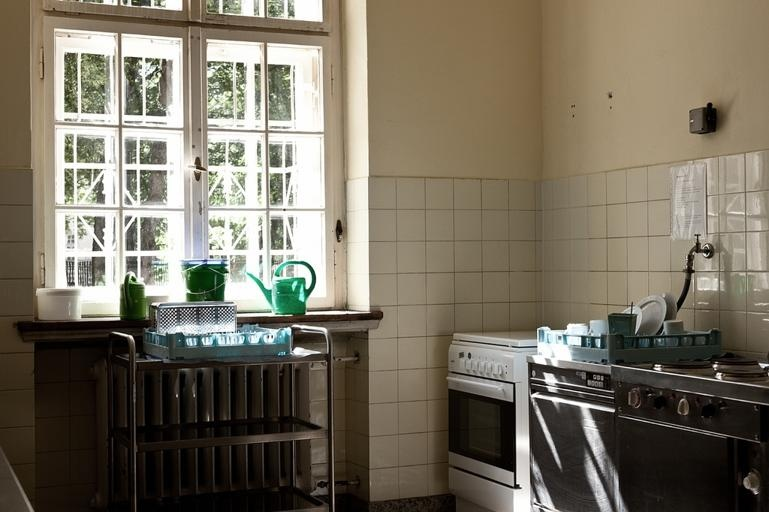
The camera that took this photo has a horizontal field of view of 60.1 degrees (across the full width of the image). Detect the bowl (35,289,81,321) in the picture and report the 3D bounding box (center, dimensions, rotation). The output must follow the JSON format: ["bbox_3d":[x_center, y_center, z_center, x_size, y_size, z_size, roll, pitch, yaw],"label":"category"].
[{"bbox_3d":[-1.845,0.284,3.781,0.165,0.165,0.213,5,-8,-40],"label":"bowl"}]

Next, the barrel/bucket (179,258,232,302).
[{"bbox_3d":[-1.049,0.149,3.929,0.235,0.244,0.234,-2,-5,0],"label":"barrel/bucket"}]

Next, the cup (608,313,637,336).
[{"bbox_3d":[1.206,0.352,3.372,0.142,0.107,0.173,-1,3,14],"label":"cup"}]

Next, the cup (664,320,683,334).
[{"bbox_3d":[1.491,0.369,3.436,0.070,0.057,0.072,-3,3,0],"label":"cup"}]
